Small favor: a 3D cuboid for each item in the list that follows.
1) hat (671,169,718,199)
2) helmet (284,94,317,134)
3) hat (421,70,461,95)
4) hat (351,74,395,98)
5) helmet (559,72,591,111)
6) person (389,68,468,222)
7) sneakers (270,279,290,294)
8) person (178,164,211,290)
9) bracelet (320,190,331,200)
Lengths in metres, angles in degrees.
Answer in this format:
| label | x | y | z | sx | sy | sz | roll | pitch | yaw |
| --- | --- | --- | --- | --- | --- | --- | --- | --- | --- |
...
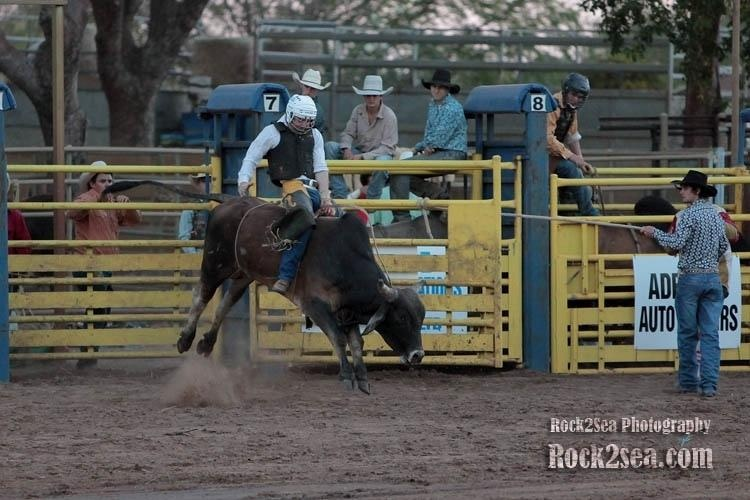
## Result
| label | x | y | z | sx | sy | sz | roll | pitch | yaw |
| --- | --- | --- | --- | --- | --- | --- | --- | --- | --- |
| hat | 5.226 | -1.056 | 31.086 | 0.548 | 0.197 | 0.454 | 16 | -8 | -18 |
| helmet | -1.226 | -2.187 | 30.939 | 0.492 | 0.546 | 0.576 | 5 | 27 | -29 |
| hat | 1.158 | -2.917 | 33.591 | 0.486 | 0.218 | 0.548 | 8 | -3 | 18 |
| hat | -0.100 | -2.903 | 34.042 | 0.557 | 0.385 | 0.988 | -1 | 2 | -2 |
| helmet | 3.415 | -2.764 | 33.121 | 0.518 | 0.570 | 0.592 | 12 | 19 | -16 |
| person | 0.915 | -1.810 | 33.430 | 1.291 | 2.627 | 0.807 | -1 | 2 | 2 |
| sneakers | -1.535 | 0.579 | 30.382 | 0.157 | 0.151 | 0.333 | -17 | 14 | -28 |
| person | -3.222 | -0.509 | 33.524 | 0.432 | 1.811 | 1.037 | 8 | 20 | -13 |
| bracelet | -0.840 | -0.881 | 30.919 | 0.142 | 0.104 | 0.141 | 0 | -1 | 30 |
